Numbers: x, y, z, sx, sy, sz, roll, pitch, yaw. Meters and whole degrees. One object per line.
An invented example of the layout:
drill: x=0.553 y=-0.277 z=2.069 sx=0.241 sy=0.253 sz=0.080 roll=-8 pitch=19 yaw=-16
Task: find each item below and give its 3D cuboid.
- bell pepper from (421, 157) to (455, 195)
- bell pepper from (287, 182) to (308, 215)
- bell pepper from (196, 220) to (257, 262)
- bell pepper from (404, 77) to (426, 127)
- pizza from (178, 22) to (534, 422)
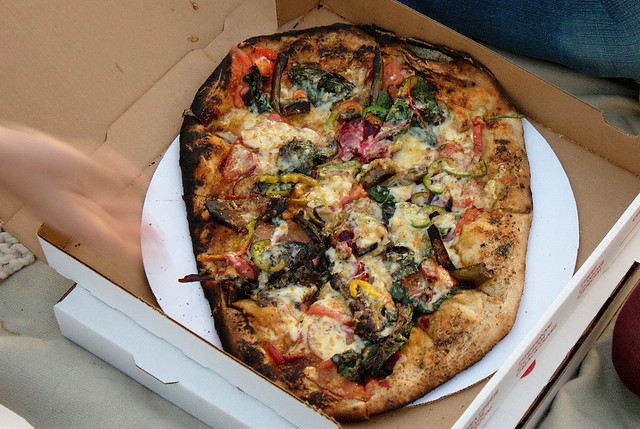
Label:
bell pepper: x=0.535 y=-0.183 z=3.053 sx=0.121 sy=0.042 sz=0.177 roll=19 pitch=83 yaw=28
bell pepper: x=-0.104 y=-0.081 z=3.017 sx=0.070 sy=0.042 sz=0.140 roll=-3 pitch=60 yaw=24
bell pepper: x=-0.432 y=0.084 z=3.080 sx=0.316 sy=0.163 sz=0.296 roll=-9 pitch=28 yaw=-18
bell pepper: x=0.444 y=-0.553 z=3.164 sx=0.032 sy=0.046 sz=0.341 roll=-24 pitch=63 yaw=24
pizza: x=0.177 y=0.085 z=2.941 sx=1.460 sy=0.337 sz=1.797 roll=9 pitch=62 yaw=5
